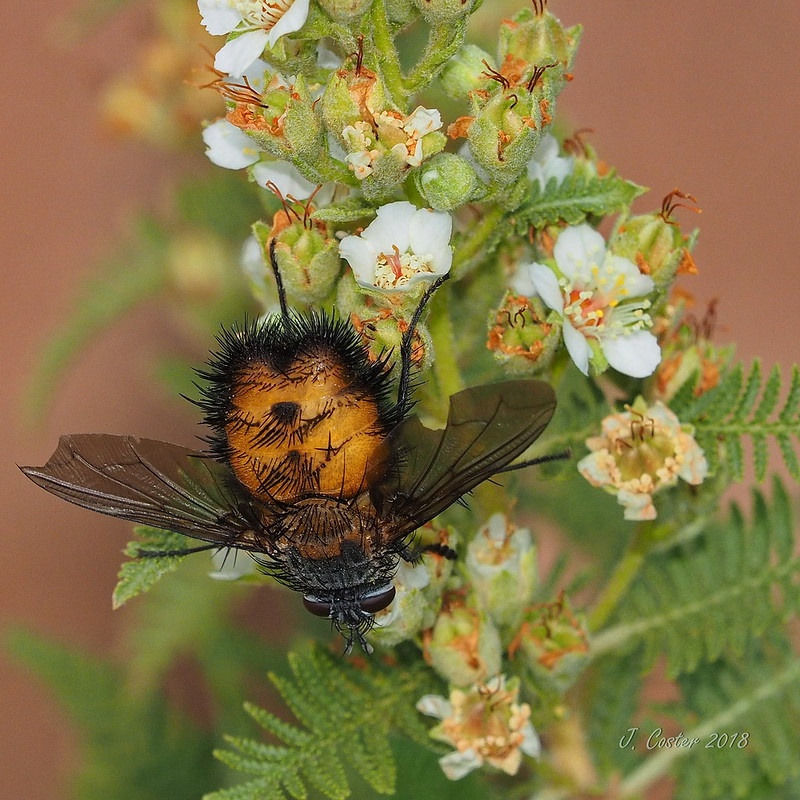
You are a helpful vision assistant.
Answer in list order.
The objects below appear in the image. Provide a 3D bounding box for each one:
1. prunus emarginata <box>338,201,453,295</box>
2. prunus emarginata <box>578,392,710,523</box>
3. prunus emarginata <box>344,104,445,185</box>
[{"bbox_3d":[0.008,-0.405,2.861,0.297,0.207,0.160,-32,-31,8],"label":"prunus emarginata"},{"bbox_3d":[0.695,0.158,3.118,0.407,0.342,0.180,-1,6,13],"label":"prunus emarginata"},{"bbox_3d":[-0.012,-0.670,2.750,0.283,0.176,0.155,-18,-32,-15],"label":"prunus emarginata"}]
